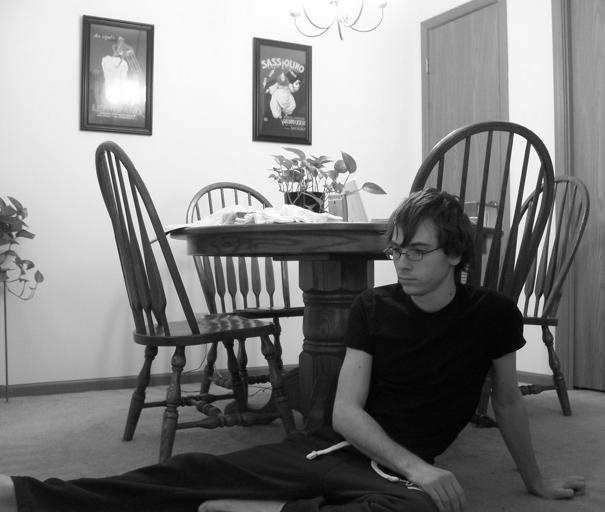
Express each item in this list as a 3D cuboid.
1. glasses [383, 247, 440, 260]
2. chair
[{"bbox_3d":[0.261,-0.003,1.243,0.109,0.038,0.039,5,14,27],"label":"glasses"},{"bbox_3d":[0.095,0.146,2.065,1.316,0.942,1.418,-1,-5,15],"label":"chair"}]
